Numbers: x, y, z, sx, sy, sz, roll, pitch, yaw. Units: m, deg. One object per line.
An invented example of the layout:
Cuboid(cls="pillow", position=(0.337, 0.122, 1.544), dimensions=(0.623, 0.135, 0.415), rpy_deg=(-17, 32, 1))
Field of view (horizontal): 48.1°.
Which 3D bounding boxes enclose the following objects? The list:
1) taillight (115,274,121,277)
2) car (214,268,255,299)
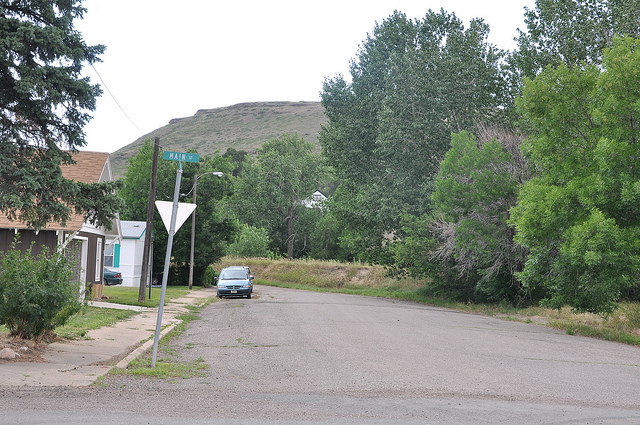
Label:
Cuboid(cls="taillight", position=(-15.131, 4.740, 53.222), dimensions=(0.104, 0.178, 0.526), rpy_deg=(2, 2, 17))
Cuboid(cls="car", position=(-5.571, 4.610, 46.090), dimensions=(1.948, 1.502, 3.498), rpy_deg=(-1, -9, -3))
